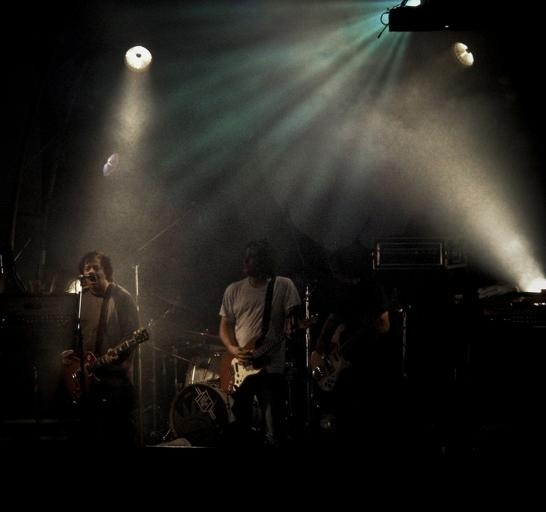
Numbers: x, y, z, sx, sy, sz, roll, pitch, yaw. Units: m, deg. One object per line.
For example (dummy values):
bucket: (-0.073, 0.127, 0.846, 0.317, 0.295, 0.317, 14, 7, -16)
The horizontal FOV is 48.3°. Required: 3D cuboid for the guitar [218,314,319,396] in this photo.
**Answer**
guitar: (-0.060, 0.794, 4.955, 0.673, 0.289, 0.098, -40, -31, 28)
